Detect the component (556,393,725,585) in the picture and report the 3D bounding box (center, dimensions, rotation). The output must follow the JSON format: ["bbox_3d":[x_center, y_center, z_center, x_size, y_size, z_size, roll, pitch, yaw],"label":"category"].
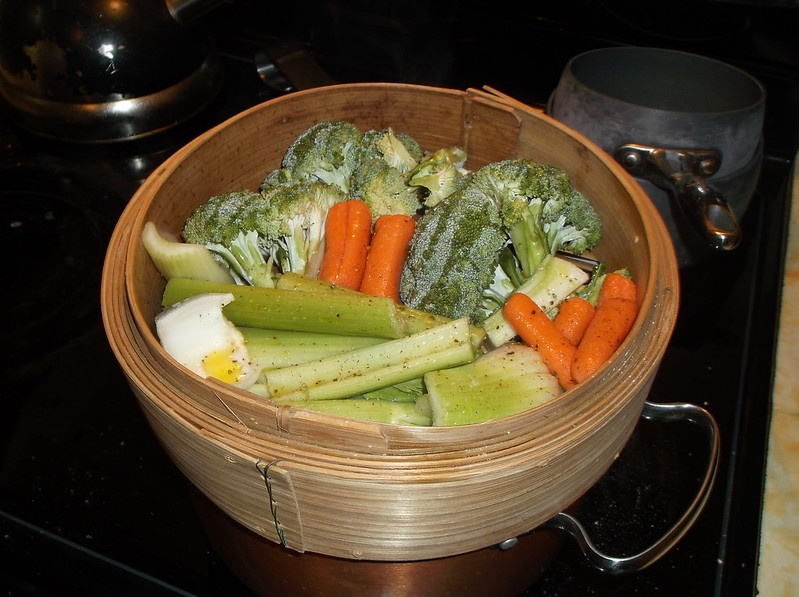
[{"bbox_3d":[0.554,0.484,1.702,0.482,0.106,0.445,-43,29,-26],"label":"component"}]
